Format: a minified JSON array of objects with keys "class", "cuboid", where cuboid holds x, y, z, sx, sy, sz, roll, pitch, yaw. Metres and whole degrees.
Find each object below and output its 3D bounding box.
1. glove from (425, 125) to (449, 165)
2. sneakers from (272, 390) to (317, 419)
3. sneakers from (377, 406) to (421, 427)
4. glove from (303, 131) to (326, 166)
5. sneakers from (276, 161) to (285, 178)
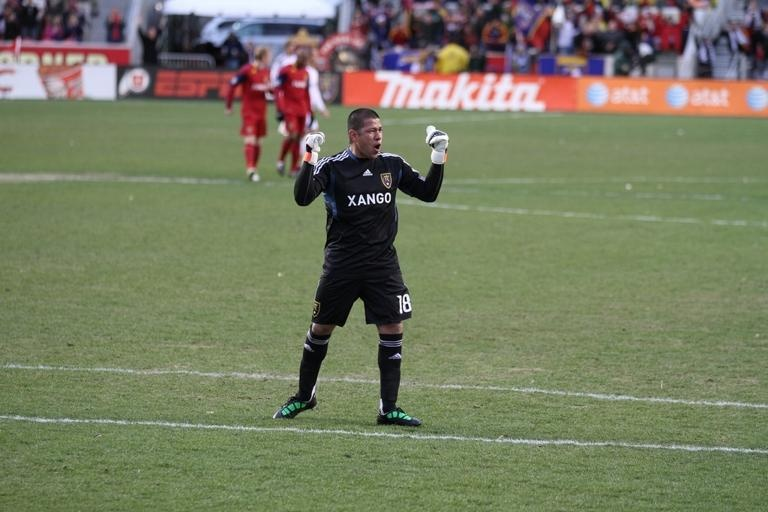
[{"class":"glove","cuboid":[0.475,-1.117,15.138,0.189,0.173,0.452,-8,23,-7]},{"class":"sneakers","cuboid":[-0.903,1.493,15.043,0.494,0.195,0.168,-22,32,-3]},{"class":"sneakers","cuboid":[0.095,1.589,14.888,0.450,0.183,0.168,1,-1,-3]},{"class":"glove","cuboid":[-0.718,-1.035,14.803,0.168,0.302,0.496,1,8,-5]},{"class":"sneakers","cuboid":[-1.698,-1.384,24.521,0.103,0.280,0.122,-2,39,-2]}]
